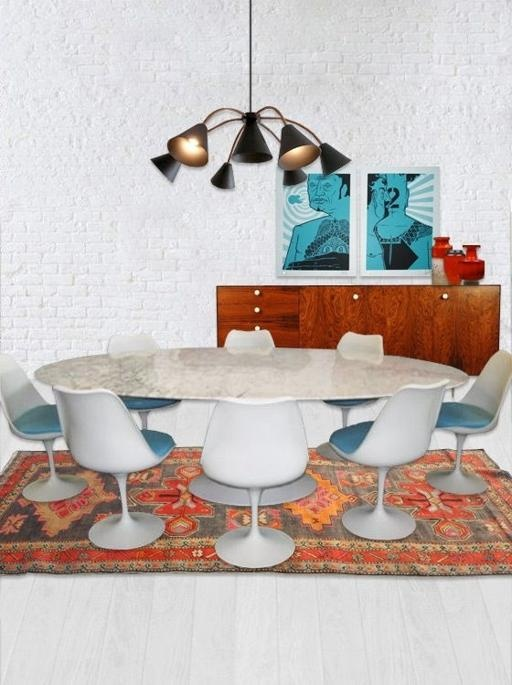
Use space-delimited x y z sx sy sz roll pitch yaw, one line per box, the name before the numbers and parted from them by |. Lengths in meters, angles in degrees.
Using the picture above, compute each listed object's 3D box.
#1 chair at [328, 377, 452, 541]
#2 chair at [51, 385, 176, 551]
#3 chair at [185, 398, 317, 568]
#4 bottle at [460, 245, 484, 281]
chair | 0.480 0.417 2.280 0.364 0.635 0.429 -2 12 -7
chair | -0.514 0.431 2.227 0.353 0.641 0.406 2 12 14
chair | 0.009 0.463 2.118 0.440 0.530 0.404 0 3 -17
bottle | 1.700 -0.630 4.734 0.164 0.296 0.356 3 12 19
